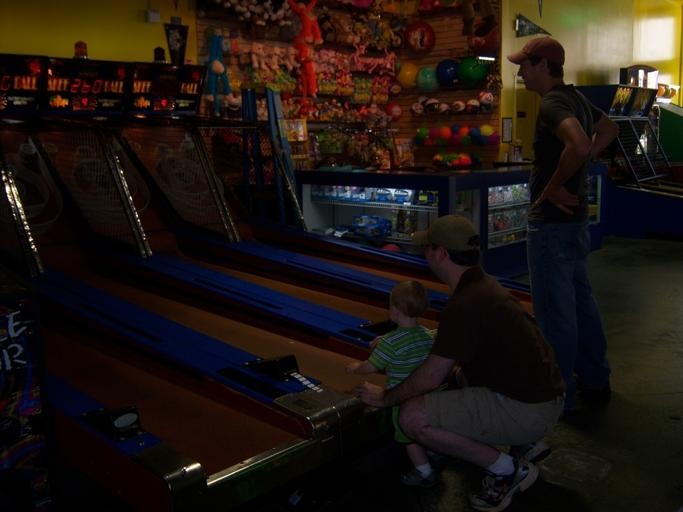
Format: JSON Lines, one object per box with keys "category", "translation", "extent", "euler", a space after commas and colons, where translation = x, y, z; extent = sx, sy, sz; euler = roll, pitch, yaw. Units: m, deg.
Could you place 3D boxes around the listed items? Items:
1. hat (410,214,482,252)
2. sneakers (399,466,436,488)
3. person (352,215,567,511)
{"category": "hat", "translation": [0.459, -0.091, 2.079], "extent": [0.221, 0.133, 0.162], "euler": [17, 19, 35]}
{"category": "sneakers", "translation": [0.370, 1.072, 2.332], "extent": [0.177, 0.088, 0.082], "euler": [3, 7, 15]}
{"category": "person", "translation": [0.649, 0.370, 2.692], "extent": [1.155, 1.574, 1.067], "euler": [2, 7, 32]}
